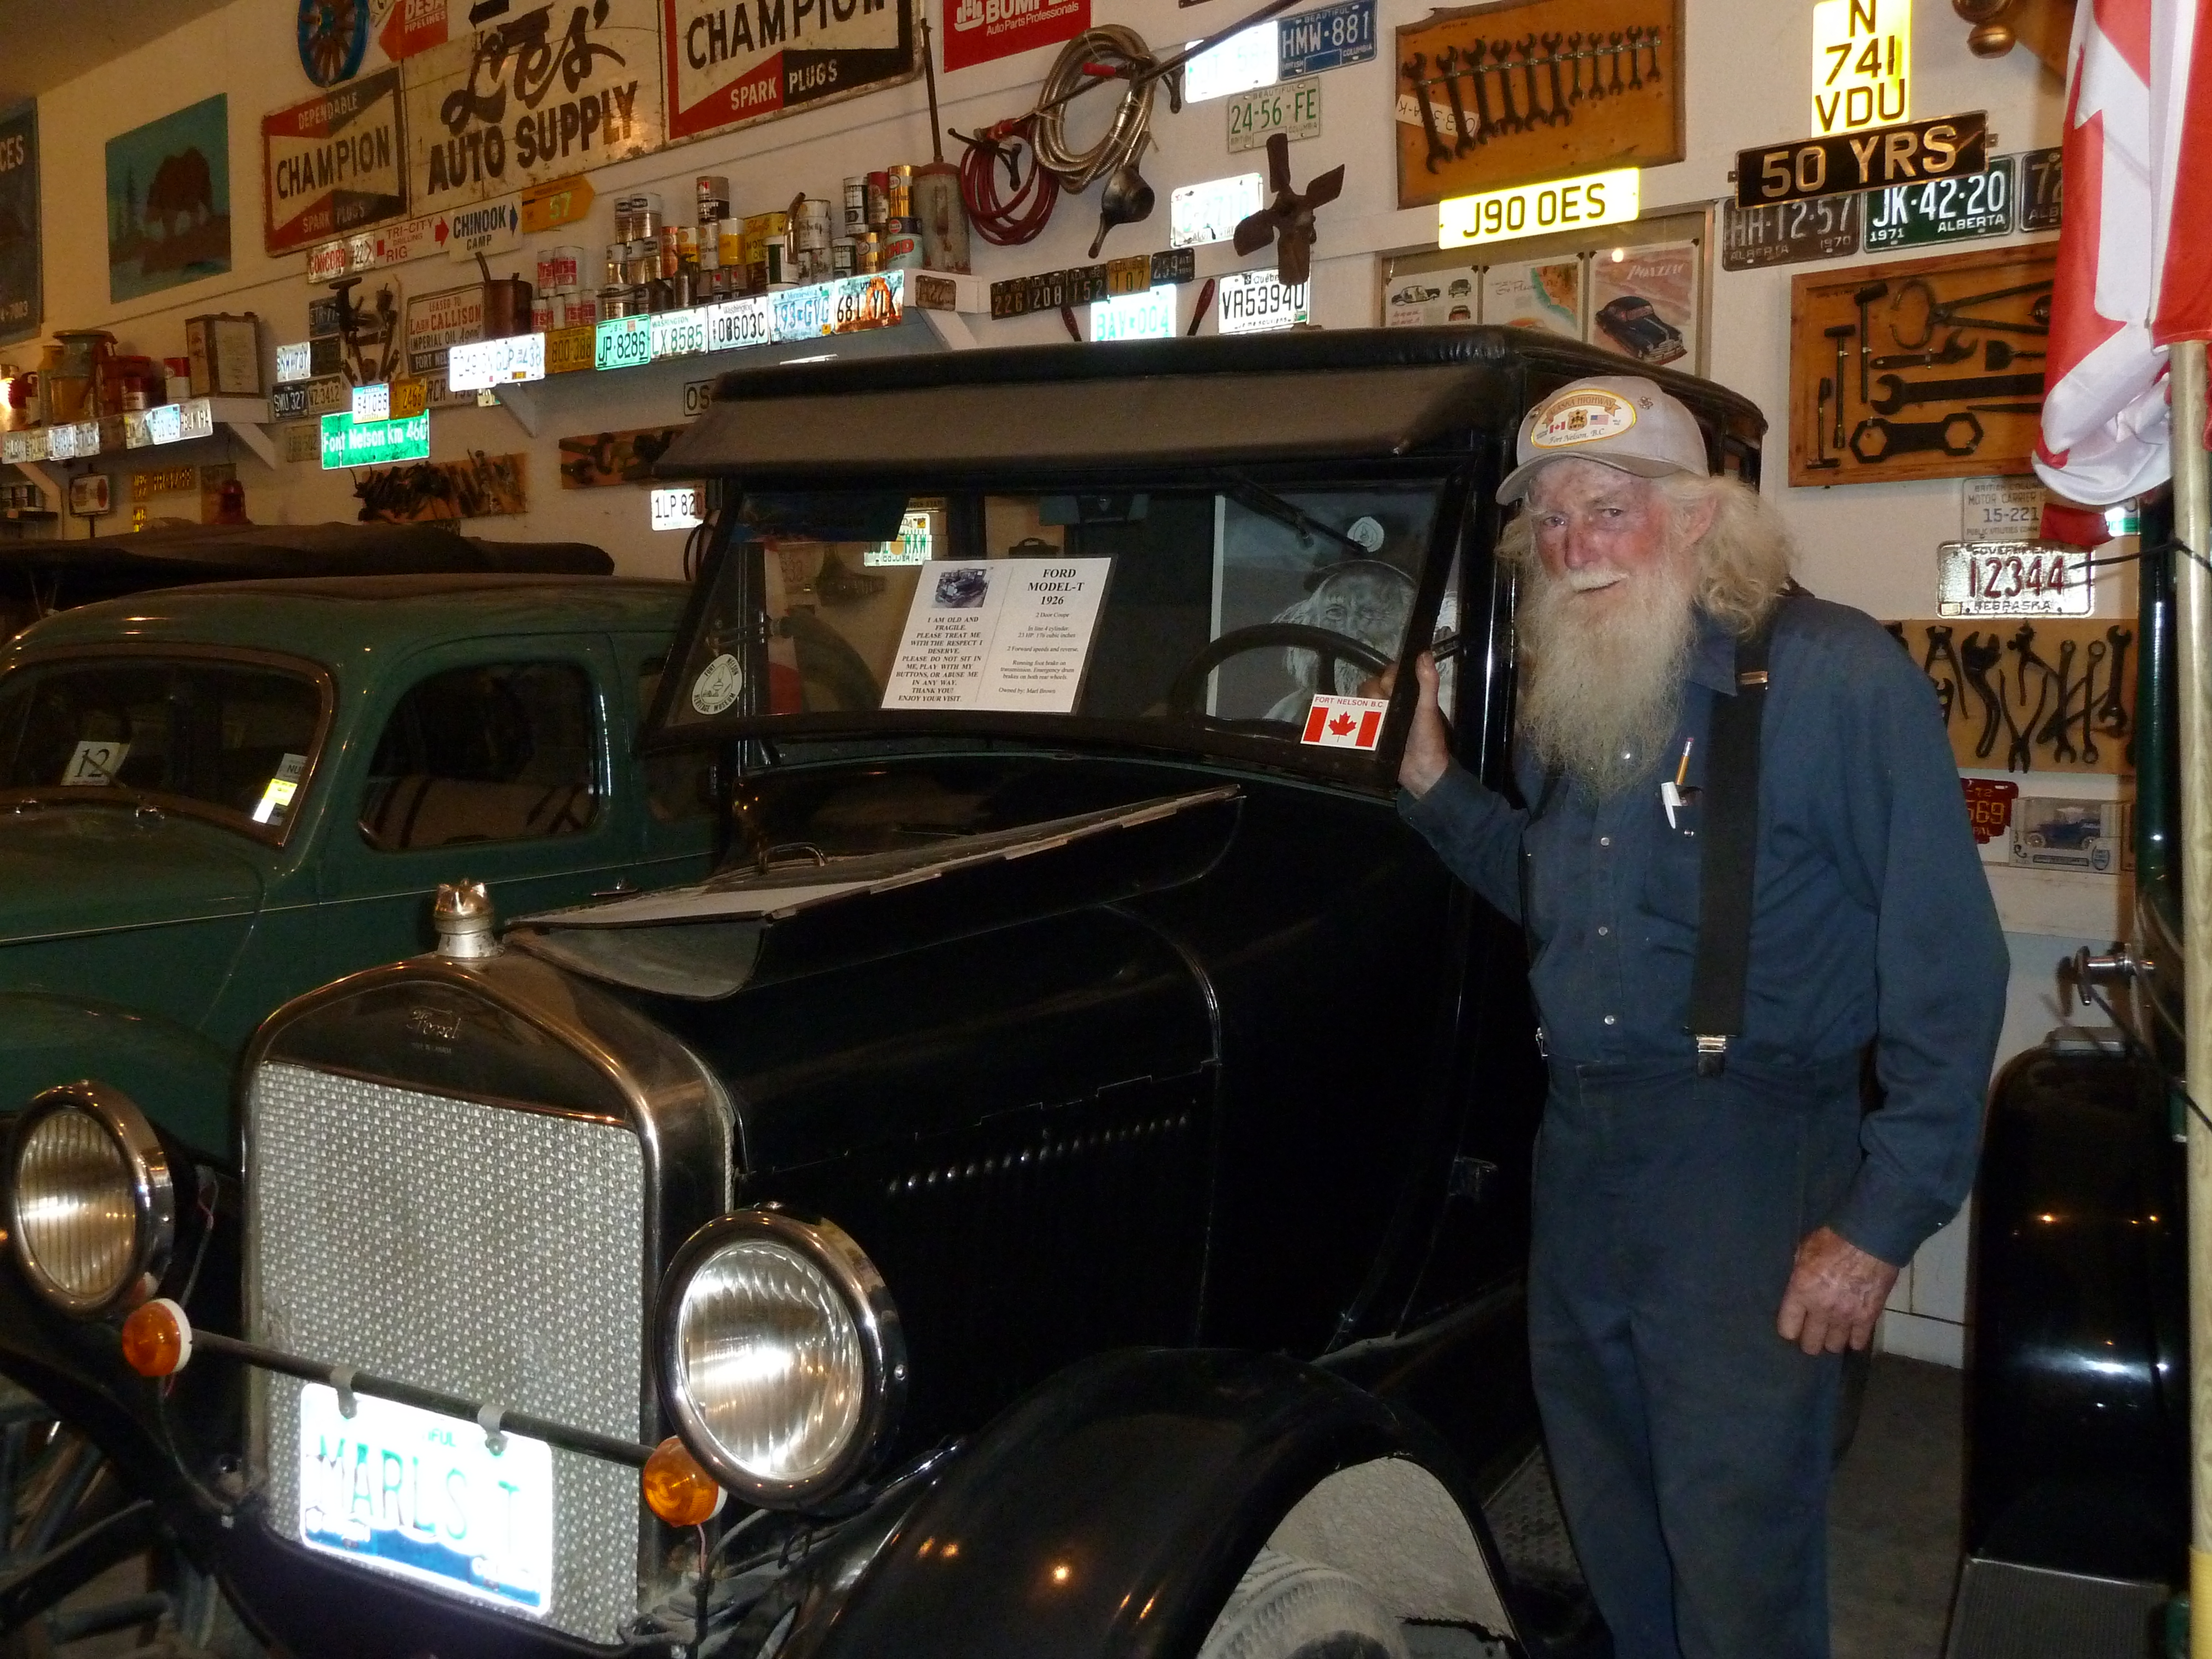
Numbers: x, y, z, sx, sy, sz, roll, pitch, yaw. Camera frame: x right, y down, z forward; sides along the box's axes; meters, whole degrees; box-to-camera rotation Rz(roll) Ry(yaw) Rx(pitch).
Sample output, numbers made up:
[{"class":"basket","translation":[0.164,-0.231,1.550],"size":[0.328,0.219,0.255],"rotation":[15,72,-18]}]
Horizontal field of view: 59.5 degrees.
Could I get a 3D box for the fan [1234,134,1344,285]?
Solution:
[{"class":"fan","translation":[0.584,-1.938,6.051],"size":[0.399,0.525,0.126],"rotation":[6,-11,28]}]
